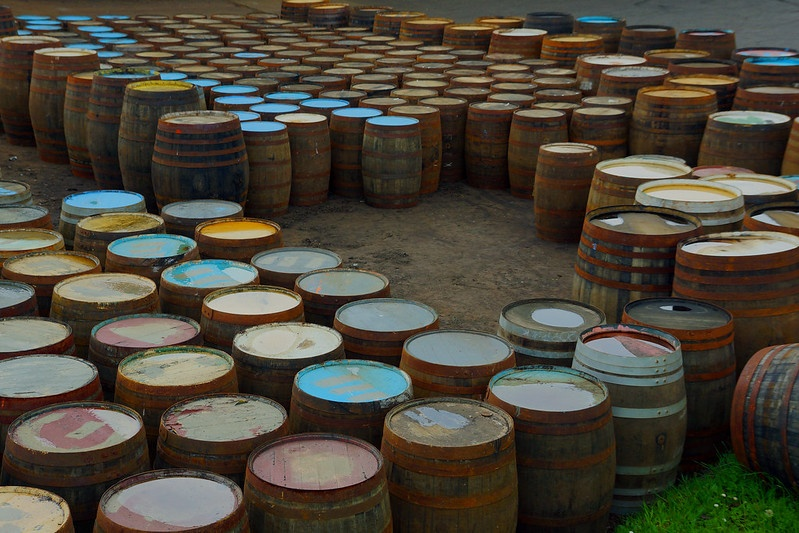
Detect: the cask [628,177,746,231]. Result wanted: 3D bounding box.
[{"bbox_3d":[2.669,-0.609,6.724,1.059,0.487,0.847,8,15,27],"label":"cask"}]
